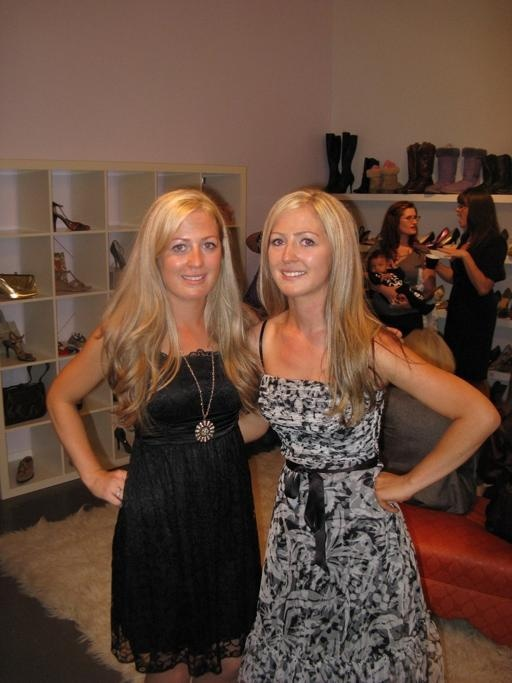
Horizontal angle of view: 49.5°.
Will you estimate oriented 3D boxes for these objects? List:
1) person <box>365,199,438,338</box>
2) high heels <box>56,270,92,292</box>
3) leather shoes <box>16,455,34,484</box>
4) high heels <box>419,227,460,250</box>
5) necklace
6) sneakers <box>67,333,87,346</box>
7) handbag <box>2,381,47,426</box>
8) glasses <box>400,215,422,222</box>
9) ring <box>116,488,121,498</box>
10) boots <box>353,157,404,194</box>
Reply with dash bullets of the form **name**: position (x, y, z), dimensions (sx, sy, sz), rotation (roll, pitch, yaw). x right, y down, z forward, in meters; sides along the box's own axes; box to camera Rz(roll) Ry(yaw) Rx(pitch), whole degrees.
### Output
- **person**: position (1.119, -0.415, 4.264), dimensions (0.508, 1.220, 0.385), rotation (5, 20, 23)
- **high heels**: position (-1.294, -0.403, 3.783), dimensions (0.320, 0.122, 0.107), rotation (-5, 16, -22)
- **leather shoes**: position (-1.559, 0.862, 3.732), dimensions (0.086, 0.070, 0.206), rotation (-1, 8, -4)
- **high heels**: position (1.362, -0.748, 4.165), dimensions (0.136, 0.121, 0.354), rotation (31, -20, -23)
- **necklace**: position (-0.144, 0.150, 1.477), dimensions (0.085, 0.210, 0.110), rotation (-3, 16, -12)
- **sneakers**: position (-1.237, -0.017, 3.830), dimensions (0.065, 0.077, 0.186), rotation (33, 1, 7)
- **handbag**: position (-1.507, 0.396, 3.564), dimensions (0.110, 0.236, 0.293), rotation (13, 19, 39)
- **glasses**: position (1.192, -0.962, 4.314), dimensions (0.091, 0.026, 0.088), rotation (-1, -2, -14)
- **ring**: position (-0.355, 0.392, 1.437), dimensions (0.015, 0.018, 0.005), rotation (1, -11, -21)
- **boots**: position (1.092, -1.474, 4.926), dimensions (0.315, 0.336, 0.409), rotation (1, 7, 16)
